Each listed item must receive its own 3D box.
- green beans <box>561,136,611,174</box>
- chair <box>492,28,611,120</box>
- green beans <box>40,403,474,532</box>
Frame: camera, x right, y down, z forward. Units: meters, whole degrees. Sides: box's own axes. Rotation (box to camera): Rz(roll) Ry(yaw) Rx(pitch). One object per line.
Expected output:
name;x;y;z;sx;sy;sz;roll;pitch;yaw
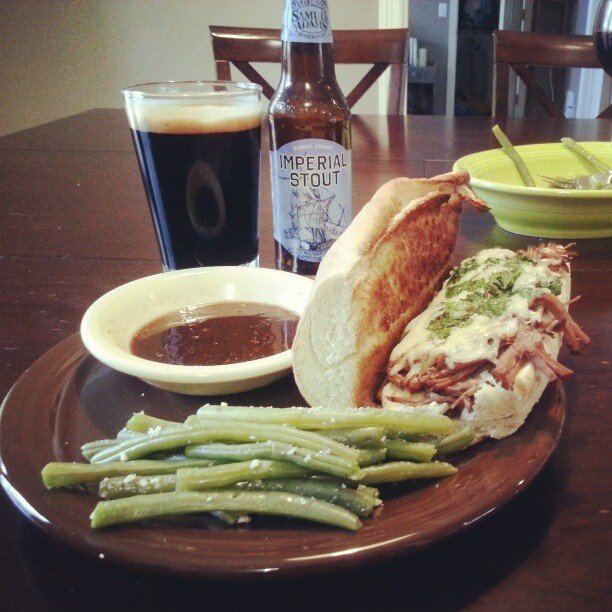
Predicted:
green beans;0.551;-0.300;1.346;0.047;0.016;0.120;-23;44;-12
chair;0.857;-0.846;2.453;0.312;0.297;0.286;16;29;37
green beans;-0.039;0.133;0.587;0.275;0.042;0.134;0;16;6
